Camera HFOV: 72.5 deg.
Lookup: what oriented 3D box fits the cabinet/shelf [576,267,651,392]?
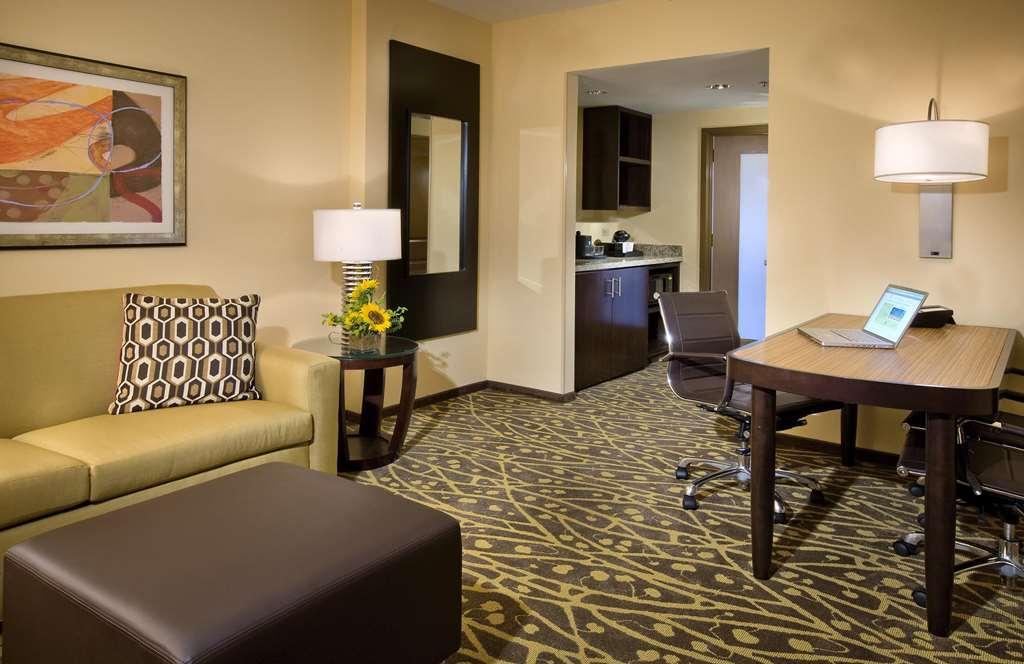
[{"bbox_3d":[1.112,-0.031,6.676,0.443,1.076,1.291,6,-8,-26],"label":"cabinet/shelf"}]

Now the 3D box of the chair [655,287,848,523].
[{"bbox_3d":[1.473,0.401,4.321,0.987,1.248,1.153,0,5,-14],"label":"chair"}]

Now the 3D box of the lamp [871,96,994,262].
[{"bbox_3d":[2.521,-0.929,4.241,0.620,0.957,0.632,5,11,39],"label":"lamp"}]

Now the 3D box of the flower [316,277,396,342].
[{"bbox_3d":[-0.934,-0.151,4.648,0.486,0.457,0.470,-4,6,-42],"label":"flower"}]

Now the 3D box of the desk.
[{"bbox_3d":[1.899,0.304,3.768,1.181,1.322,2.238,2,7,32],"label":"desk"}]

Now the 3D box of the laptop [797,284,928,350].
[{"bbox_3d":[1.975,-0.055,3.876,0.479,0.286,0.483,-4,8,6],"label":"laptop"}]

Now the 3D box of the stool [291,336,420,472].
[{"bbox_3d":[-1.030,0.447,4.832,0.888,0.733,0.836,-9,17,-43],"label":"stool"}]

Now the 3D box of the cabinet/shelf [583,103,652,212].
[{"bbox_3d":[1.211,-1.913,7.827,0.397,1.092,1.184,5,11,28],"label":"cabinet/shelf"}]

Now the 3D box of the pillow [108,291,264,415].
[{"bbox_3d":[-1.881,0.100,4.143,0.790,0.722,0.260,1,1,-31],"label":"pillow"}]

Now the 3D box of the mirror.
[{"bbox_3d":[-0.622,-1.077,5.704,0.967,2.228,0.113,-4,9,-41],"label":"mirror"}]

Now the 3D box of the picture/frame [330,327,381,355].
[{"bbox_3d":[-1.037,0.066,4.579,0.265,0.088,0.205,6,6,40],"label":"picture/frame"}]
